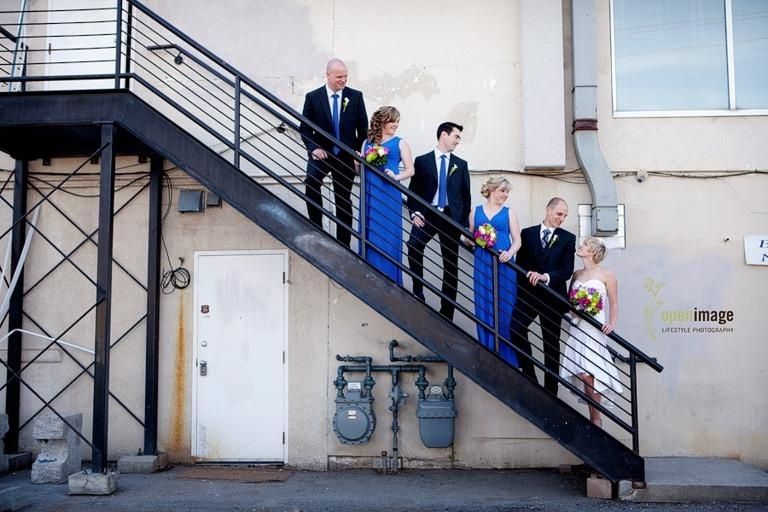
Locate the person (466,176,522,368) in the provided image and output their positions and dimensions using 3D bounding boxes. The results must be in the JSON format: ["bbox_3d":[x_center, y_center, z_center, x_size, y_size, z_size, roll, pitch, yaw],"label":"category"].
[{"bbox_3d":[1.430,0.198,15.334,0.649,2.446,1.016,-2,-3,6],"label":"person"}]

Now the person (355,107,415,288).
[{"bbox_3d":[0.050,-0.779,15.216,0.670,2.299,0.672,-2,-3,-5],"label":"person"}]

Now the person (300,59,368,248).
[{"bbox_3d":[-0.649,-1.321,15.466,0.896,2.425,1.059,-2,-3,-8],"label":"person"}]

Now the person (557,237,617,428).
[{"bbox_3d":[2.622,0.979,15.392,0.754,2.416,0.959,-3,-3,11],"label":"person"}]
